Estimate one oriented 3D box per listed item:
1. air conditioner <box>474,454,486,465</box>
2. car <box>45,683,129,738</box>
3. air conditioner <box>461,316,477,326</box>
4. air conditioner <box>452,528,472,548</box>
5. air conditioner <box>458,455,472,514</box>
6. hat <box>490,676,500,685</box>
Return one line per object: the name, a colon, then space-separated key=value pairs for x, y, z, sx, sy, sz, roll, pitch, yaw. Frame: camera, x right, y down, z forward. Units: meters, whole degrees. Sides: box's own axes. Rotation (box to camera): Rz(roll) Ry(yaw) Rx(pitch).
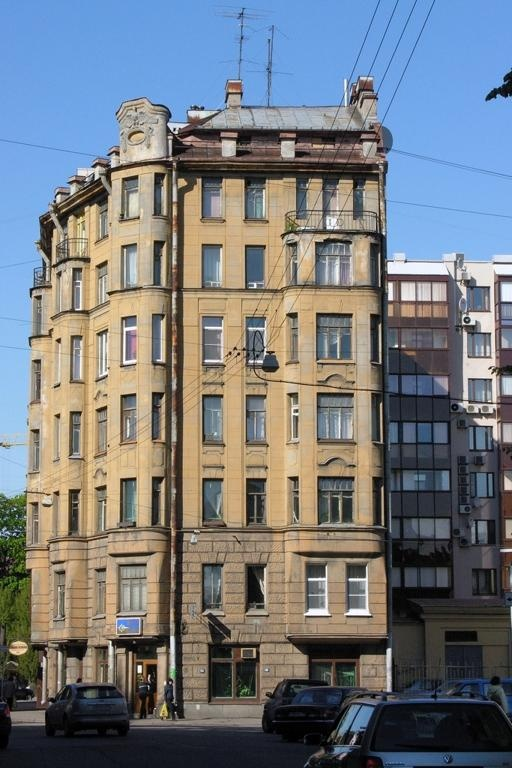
air conditioner: x=9.364 y=3.343 z=70.744 sx=0.539 sy=0.587 sz=0.313 roll=5 pitch=-11 yaw=-28
car: x=-4.061 y=7.750 z=40.190 sx=1.039 sy=0.983 sz=2.558 roll=3 pitch=-14 yaw=-14
air conditioner: x=9.039 y=-2.468 z=71.867 sx=0.619 sy=0.766 sz=0.329 roll=2 pitch=0 yaw=-38
air conditioner: x=8.459 y=6.387 z=69.192 sx=0.964 sy=0.773 sz=0.438 roll=6 pitch=-15 yaw=-24
air conditioner: x=8.583 y=4.258 z=70.080 sx=0.554 sy=2.530 sz=1.007 roll=-2 pitch=-13 yaw=7
hat: x=4.588 y=5.825 z=32.719 sx=0.184 sy=0.191 sz=0.300 roll=3 pitch=-1 yaw=10
